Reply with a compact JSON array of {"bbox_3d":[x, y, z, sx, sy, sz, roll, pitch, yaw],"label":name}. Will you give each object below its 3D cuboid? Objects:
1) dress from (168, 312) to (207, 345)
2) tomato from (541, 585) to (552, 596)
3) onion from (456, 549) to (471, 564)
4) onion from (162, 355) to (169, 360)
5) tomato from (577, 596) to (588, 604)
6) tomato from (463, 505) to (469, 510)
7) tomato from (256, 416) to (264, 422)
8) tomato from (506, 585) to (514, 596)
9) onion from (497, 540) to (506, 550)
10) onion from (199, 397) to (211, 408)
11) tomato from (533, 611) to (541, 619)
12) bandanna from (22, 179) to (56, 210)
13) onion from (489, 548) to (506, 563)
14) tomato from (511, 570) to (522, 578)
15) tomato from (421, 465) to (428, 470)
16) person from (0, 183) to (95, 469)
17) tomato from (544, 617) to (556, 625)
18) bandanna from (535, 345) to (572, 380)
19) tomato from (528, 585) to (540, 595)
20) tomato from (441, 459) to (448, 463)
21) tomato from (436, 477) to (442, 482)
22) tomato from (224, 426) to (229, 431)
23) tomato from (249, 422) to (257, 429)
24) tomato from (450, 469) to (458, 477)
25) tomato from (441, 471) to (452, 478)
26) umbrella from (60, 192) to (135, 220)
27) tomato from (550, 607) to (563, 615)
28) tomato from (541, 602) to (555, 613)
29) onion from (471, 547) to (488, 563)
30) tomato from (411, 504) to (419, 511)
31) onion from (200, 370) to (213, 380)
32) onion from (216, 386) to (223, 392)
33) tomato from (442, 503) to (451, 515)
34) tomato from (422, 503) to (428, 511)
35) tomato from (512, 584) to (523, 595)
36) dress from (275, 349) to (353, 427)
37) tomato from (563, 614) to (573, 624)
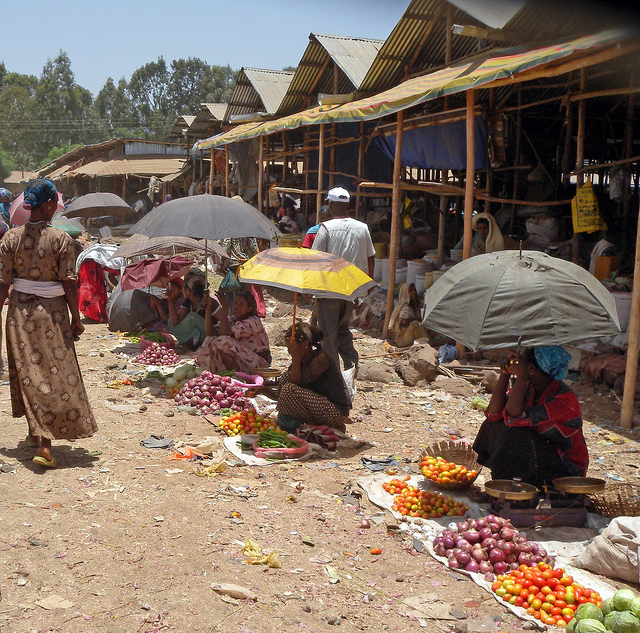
[{"bbox_3d":[-1.683,0.153,8.949,0.537,0.422,0.243,6,34,-5],"label":"dress"},{"bbox_3d":[1.243,1.505,3.807,0.049,0.043,0.044,2,-15,0],"label":"tomato"},{"bbox_3d":[0.854,1.429,4.111,0.078,0.065,0.071,22,47,23],"label":"onion"},{"bbox_3d":[-1.898,0.504,8.530,0.058,0.044,0.049,1,7,14],"label":"onion"},{"bbox_3d":[1.429,1.539,3.762,0.042,0.024,0.064,10,12,31],"label":"tomato"},{"bbox_3d":[1.001,1.304,4.737,0.025,0.019,0.033,-16,48,-41],"label":"tomato"},{"bbox_3d":[-0.536,0.922,6.210,0.057,0.052,0.053,4,8,28],"label":"tomato"},{"bbox_3d":[1.053,1.524,3.849,0.050,0.036,0.042,-4,11,2],"label":"tomato"},{"bbox_3d":[1.080,1.361,4.129,0.048,0.030,0.047,0,-1,-13],"label":"onion"},{"bbox_3d":[-1.131,0.848,6.828,0.097,0.084,0.081,2,3,-5],"label":"onion"},{"bbox_3d":[1.159,1.591,3.694,0.033,0.029,0.028,0,14,-17],"label":"tomato"},{"bbox_3d":[-1.986,-0.863,4.916,0.213,0.219,0.353,-1,11,-21],"label":"bandanna"},{"bbox_3d":[1.044,1.411,4.082,0.086,0.063,0.084,-8,22,-44],"label":"onion"},{"bbox_3d":[1.120,1.472,3.965,0.036,0.026,0.032,3,6,16],"label":"tomato"},{"bbox_3d":[0.792,1.135,5.205,0.040,0.036,0.034,-1,-23,2],"label":"tomato"},{"bbox_3d":[-1.992,0.072,5.027,0.518,2.052,0.636,-6,17,-39],"label":"person"},{"bbox_3d":[1.213,1.598,3.640,0.039,0.029,0.035,14,-2,-13],"label":"tomato"},{"bbox_3d":[1.539,0.305,4.590,0.234,0.235,0.144,4,12,0],"label":"bandanna"},{"bbox_3d":[1.184,1.514,3.832,0.046,0.036,0.045,6,-4,39],"label":"tomato"},{"bbox_3d":[0.961,1.112,5.346,0.048,0.025,0.052,1,-7,6],"label":"tomato"},{"bbox_3d":[0.865,1.181,5.011,0.031,0.027,0.026,-2,0,0],"label":"tomato"},{"bbox_3d":[-0.835,1.010,6.229,0.039,0.035,0.035,4,11,21],"label":"tomato"},{"bbox_3d":[-0.590,0.967,6.140,0.067,0.042,0.048,6,-8,-5],"label":"tomato"},{"bbox_3d":[0.980,1.133,5.036,0.043,0.039,0.038,7,4,11],"label":"tomato"},{"bbox_3d":[0.918,1.147,5.029,0.066,0.037,0.054,11,13,37],"label":"tomato"},{"bbox_3d":[-3.742,-1.868,11.753,0.795,0.224,0.796,3,8,42],"label":"umbrella"},{"bbox_3d":[1.262,1.569,3.691,0.047,0.034,0.038,7,25,-1],"label":"tomato"},{"bbox_3d":[1.214,1.552,3.699,0.047,0.026,0.053,11,-13,-8],"label":"tomato"},{"bbox_3d":[0.948,1.409,4.103,0.080,0.091,0.071,16,-26,26],"label":"onion"},{"bbox_3d":[0.656,1.311,4.776,0.051,0.033,0.043,3,11,-4],"label":"tomato"},{"bbox_3d":[-1.187,0.593,7.198,0.088,0.064,0.075,-2,2,-9],"label":"onion"},{"bbox_3d":[-1.024,0.738,7.040,0.049,0.023,0.042,15,36,-39],"label":"onion"},{"bbox_3d":[0.858,1.309,4.700,0.038,0.063,0.026,-25,-7,6],"label":"tomato"},{"bbox_3d":[0.720,1.303,4.737,0.035,0.027,0.040,4,20,0],"label":"tomato"},{"bbox_3d":[1.098,1.512,3.845,0.058,0.053,0.051,3,-21,15],"label":"tomato"},{"bbox_3d":[-0.058,0.642,6.478,0.859,0.820,0.714,2,0,1],"label":"dress"},{"bbox_3d":[1.309,1.596,3.652,0.046,0.033,0.039,3,15,-3],"label":"tomato"}]
